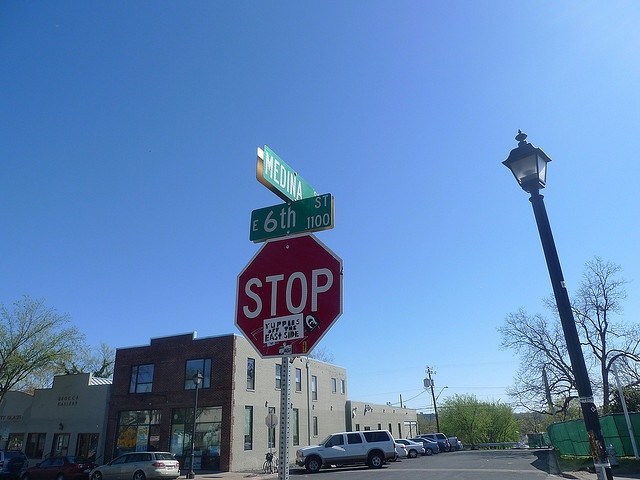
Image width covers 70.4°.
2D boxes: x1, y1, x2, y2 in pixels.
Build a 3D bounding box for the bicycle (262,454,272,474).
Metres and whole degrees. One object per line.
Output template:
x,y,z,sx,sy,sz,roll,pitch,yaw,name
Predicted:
-3.269,13.961,28.433,0.601,1.171,1.383,-1,-27,-8,bicycle
